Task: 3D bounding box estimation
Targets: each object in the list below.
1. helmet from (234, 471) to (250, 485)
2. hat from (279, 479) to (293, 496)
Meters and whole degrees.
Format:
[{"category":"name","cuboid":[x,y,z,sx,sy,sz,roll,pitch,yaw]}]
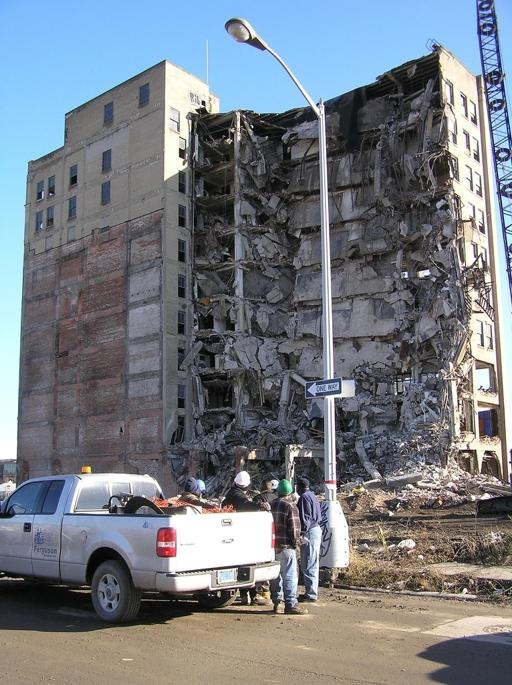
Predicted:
[{"category":"helmet","cuboid":[-0.184,1.928,10.829,0.197,0.132,0.257,3,11,-2]},{"category":"hat","cuboid":[0.410,1.990,10.540,0.182,0.149,0.235,0,-12,-5]}]
